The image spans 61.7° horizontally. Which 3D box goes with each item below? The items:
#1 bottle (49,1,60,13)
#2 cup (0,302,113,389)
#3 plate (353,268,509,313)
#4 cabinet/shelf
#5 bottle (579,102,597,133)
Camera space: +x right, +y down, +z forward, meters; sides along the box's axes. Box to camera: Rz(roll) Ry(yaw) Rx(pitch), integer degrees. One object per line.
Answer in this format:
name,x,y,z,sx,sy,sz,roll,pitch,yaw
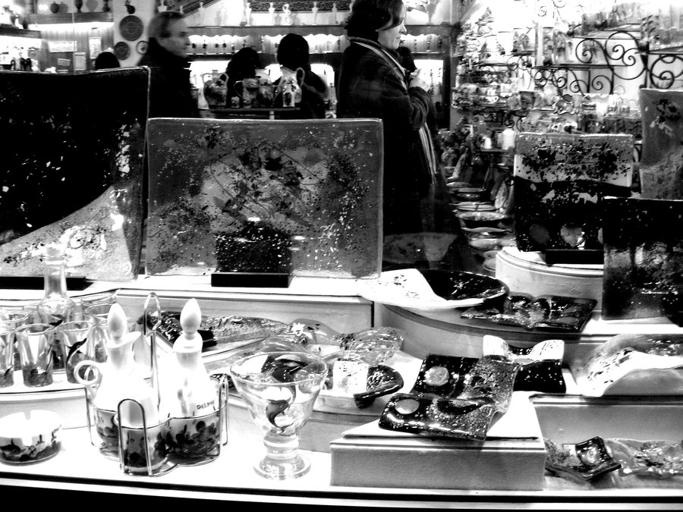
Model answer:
bottle,-4.221,-3.646,8.400,0.142,0.187,0.240,-8,15,-30
cup,-0.625,0.200,1.260,0.263,0.113,0.125,-5,2,11
plate,0.230,0.092,1.514,0.399,0.059,0.255,3,13,16
cabinet/shelf,-0.687,-2.400,7.429,3.031,1.275,0.346,11,34,32
bottle,1.058,-0.596,2.447,0.075,0.120,0.177,5,14,21
